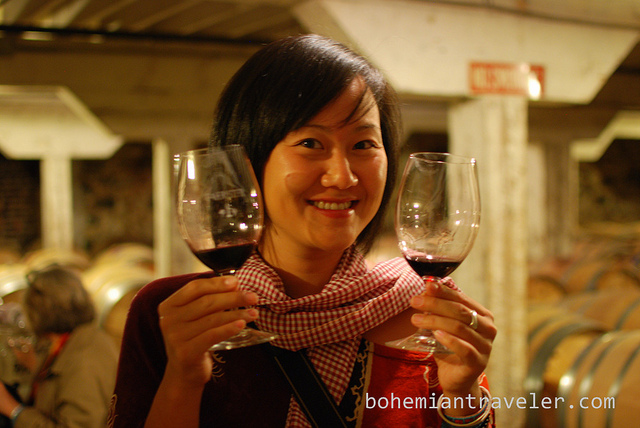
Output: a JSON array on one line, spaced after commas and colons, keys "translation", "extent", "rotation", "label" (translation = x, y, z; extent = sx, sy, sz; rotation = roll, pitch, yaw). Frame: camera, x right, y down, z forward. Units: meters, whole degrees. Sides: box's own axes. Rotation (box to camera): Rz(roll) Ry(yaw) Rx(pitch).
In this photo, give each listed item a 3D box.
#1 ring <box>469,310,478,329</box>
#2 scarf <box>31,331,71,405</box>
[{"translation": [0.549, 0.387, 1.964], "extent": [0.022, 0.053, 0.044], "rotation": [4, 3, 5], "label": "ring"}, {"translation": [-1.381, 0.793, 2.845], "extent": [0.165, 0.336, 0.147], "rotation": [5, 7, 42], "label": "scarf"}]
